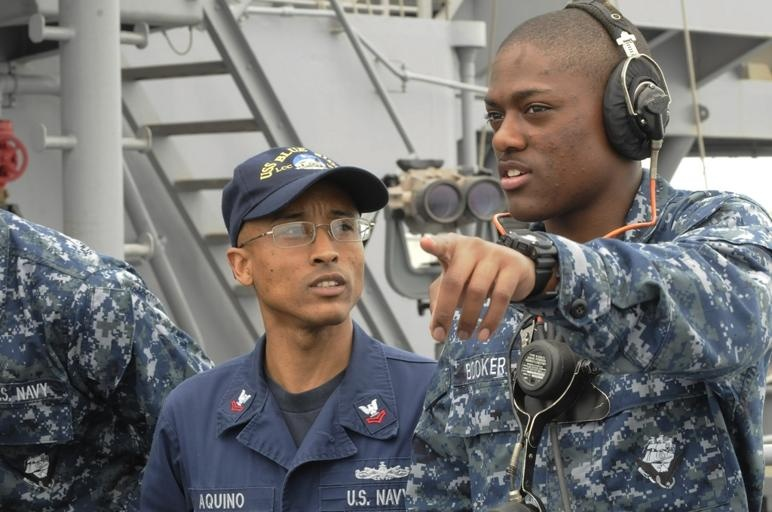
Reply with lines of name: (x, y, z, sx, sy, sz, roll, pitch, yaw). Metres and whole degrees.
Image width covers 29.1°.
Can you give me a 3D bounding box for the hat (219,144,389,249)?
hat: (-0.382, -0.274, 5.916, 0.526, 0.360, 0.688, -7, -18, -35)
